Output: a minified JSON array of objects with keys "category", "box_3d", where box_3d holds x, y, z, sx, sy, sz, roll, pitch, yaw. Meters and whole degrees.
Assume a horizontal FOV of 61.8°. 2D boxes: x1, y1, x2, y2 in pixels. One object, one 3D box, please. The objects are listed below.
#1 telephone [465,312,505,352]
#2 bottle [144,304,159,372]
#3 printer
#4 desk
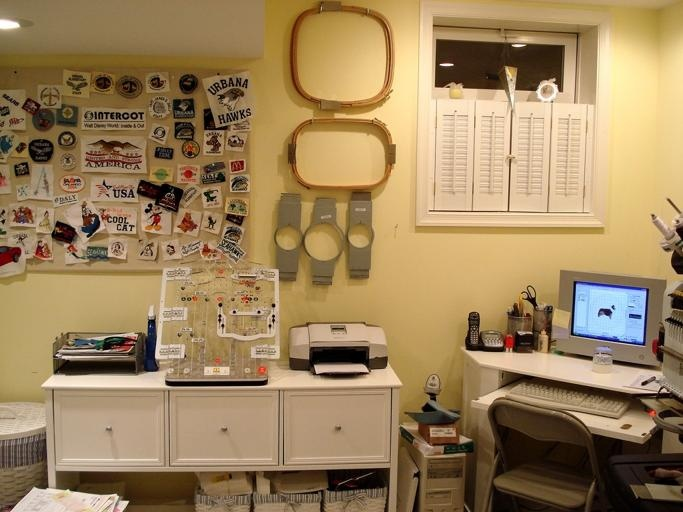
[{"category":"telephone","box_3d":[0.892,0.491,3.639,0.259,0.241,0.184,-1,3,2]},{"category":"bottle","box_3d":[-1.126,0.486,3.365,0.080,0.375,0.380,-2,5,-18]},{"category":"printer","box_3d":[-0.021,0.555,3.362,0.577,0.265,0.299,-1,5,-2]},{"category":"desk","box_3d":[1.230,0.861,3.077,1.069,0.987,0.456,3,4,6]}]
